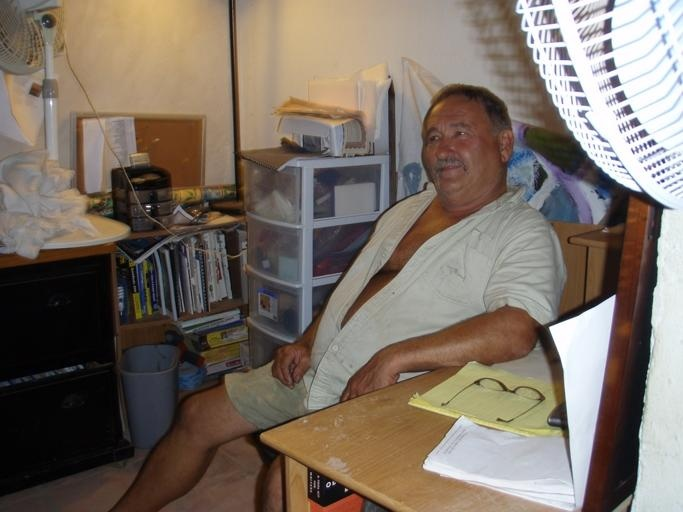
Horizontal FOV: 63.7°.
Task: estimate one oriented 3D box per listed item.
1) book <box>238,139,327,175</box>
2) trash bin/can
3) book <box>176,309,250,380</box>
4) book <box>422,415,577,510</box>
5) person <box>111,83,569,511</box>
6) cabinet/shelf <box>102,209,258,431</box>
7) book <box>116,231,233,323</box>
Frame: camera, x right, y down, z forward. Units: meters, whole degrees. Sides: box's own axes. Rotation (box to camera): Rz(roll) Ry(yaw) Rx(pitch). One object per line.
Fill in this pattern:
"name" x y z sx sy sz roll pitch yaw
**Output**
"book" -0.269 -0.406 2.218 0.205 0.061 0.225 -19 25 -34
"trash bin/can" -0.835 0.589 2.405 0.198 0.302 0.277 2 15 -3
"book" -0.632 0.431 2.775 0.330 0.332 0.079 -12 16 -30
"book" 0.277 0.351 0.956 0.239 0.051 0.163 3 11 21
"person" 0.051 0.098 2.055 1.506 1.601 1.066 6 10 -20
"cabinet/shelf" -0.729 0.257 2.388 0.898 0.926 0.325 -7 9 -35
"book" -0.878 0.027 2.765 0.443 0.574 0.446 -10 12 -29
